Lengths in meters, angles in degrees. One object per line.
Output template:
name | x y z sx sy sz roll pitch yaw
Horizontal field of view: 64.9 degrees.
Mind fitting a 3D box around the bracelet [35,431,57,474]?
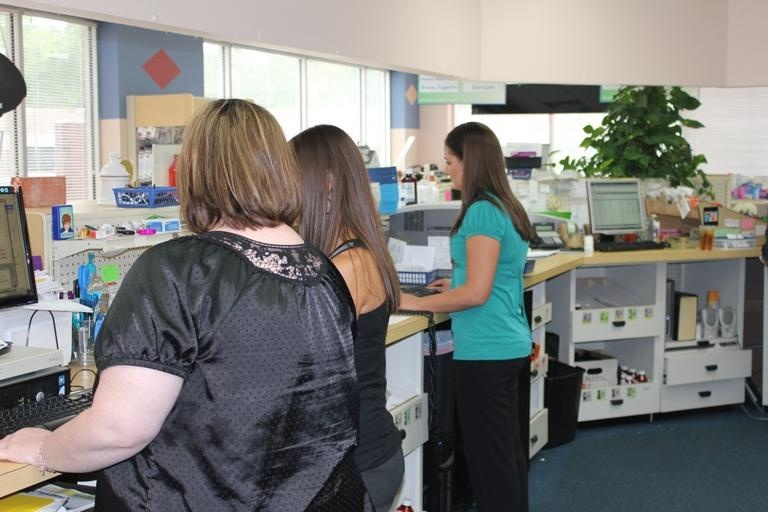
bracelet | -0.820 0.477 1.451 0.029 0.108 0.084 6 -6 -36

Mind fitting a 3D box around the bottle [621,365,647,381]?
bottle | 1.806 0.853 4.337 0.185 0.072 0.171 0 10 0

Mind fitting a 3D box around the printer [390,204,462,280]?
printer | 0.216 -0.069 3.350 0.403 0.477 0.504 0 -1 3

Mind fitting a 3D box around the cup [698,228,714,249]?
cup | 2.375 -0.125 4.439 0.092 0.147 0.144 5 11 25

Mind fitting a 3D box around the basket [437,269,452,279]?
basket | 0.320 0.094 3.154 0.080 0.074 0.042 3 10 4

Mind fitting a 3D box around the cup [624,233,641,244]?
cup | 1.899 -0.135 4.618 0.058 0.067 0.062 2 -36 1

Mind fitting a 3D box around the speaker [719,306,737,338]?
speaker | 2.547 0.495 4.474 0.125 0.210 0.085 2 11 13

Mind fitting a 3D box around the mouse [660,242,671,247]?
mouse | 2.098 -0.081 4.495 0.074 0.026 0.054 4 12 -1

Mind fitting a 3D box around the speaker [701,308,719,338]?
speaker | 2.421 0.499 4.472 0.108 0.212 0.175 9 14 41

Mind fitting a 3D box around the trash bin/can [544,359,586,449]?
trash bin/can | 1.175 0.994 3.971 0.179 0.518 0.256 6 12 29

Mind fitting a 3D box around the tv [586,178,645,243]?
tv | 1.749 -0.337 4.588 0.488 0.416 0.171 0 -14 -23
